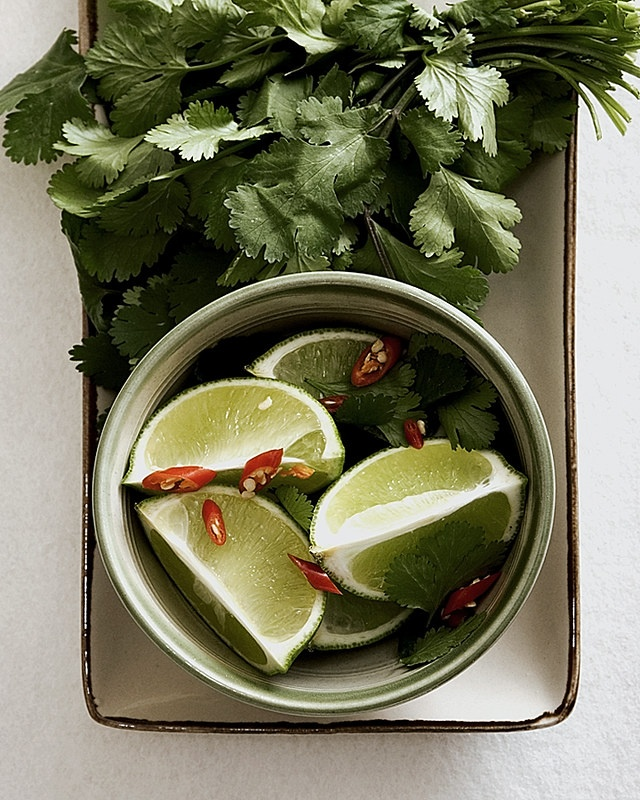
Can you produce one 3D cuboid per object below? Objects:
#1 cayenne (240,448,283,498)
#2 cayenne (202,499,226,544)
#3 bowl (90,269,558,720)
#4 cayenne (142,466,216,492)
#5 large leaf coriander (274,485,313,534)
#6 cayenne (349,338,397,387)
[{"bbox_3d":[-0.065,0.078,1.032,0.037,0.019,0.058,35,115,-12],"label":"cayenne"},{"bbox_3d":[-0.117,0.135,1.024,0.027,0.012,0.043,-25,81,28],"label":"cayenne"},{"bbox_3d":[-0.033,0.110,1.115,0.617,0.227,0.468,1,92,-1],"label":"bowl"},{"bbox_3d":[-0.156,0.087,1.014,0.091,0.031,0.024,-6,97,-7],"label":"cayenne"},{"bbox_3d":[-0.026,0.125,1.032,0.034,0.010,0.056,-40,69,12],"label":"large leaf coriander"},{"bbox_3d":[0.066,-0.044,1.093,0.043,0.025,0.066,44,109,15],"label":"cayenne"}]
